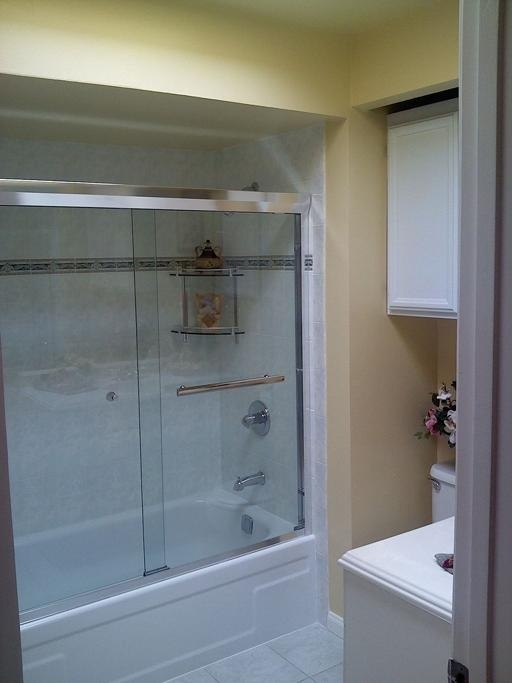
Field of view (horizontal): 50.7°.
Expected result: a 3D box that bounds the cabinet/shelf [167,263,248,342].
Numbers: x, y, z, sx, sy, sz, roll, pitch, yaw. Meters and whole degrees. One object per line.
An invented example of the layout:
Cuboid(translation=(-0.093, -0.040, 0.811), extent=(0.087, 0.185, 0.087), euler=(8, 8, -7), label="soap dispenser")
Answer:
Cuboid(translation=(-0.229, -0.155, 2.508), extent=(0.311, 0.333, 0.193), euler=(0, 7, 1), label="cabinet/shelf")

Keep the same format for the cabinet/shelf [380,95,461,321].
Cuboid(translation=(0.659, -0.527, 2.181), extent=(0.095, 0.847, 0.382), euler=(-3, 6, -18), label="cabinet/shelf")

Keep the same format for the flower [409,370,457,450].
Cuboid(translation=(0.806, 0.356, 2.444), extent=(0.173, 0.348, 0.462), euler=(1, 6, 18), label="flower")

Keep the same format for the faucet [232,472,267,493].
Cuboid(translation=(-0.033, 0.664, 2.607), extent=(0.169, 0.083, 0.071), euler=(-11, 8, -8), label="faucet")
